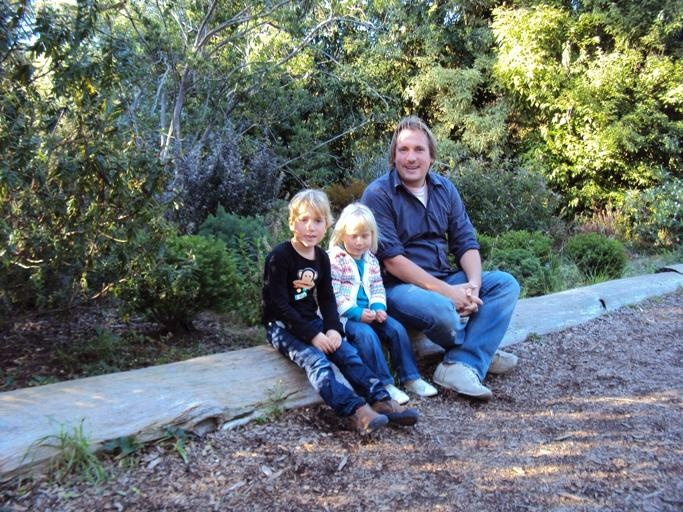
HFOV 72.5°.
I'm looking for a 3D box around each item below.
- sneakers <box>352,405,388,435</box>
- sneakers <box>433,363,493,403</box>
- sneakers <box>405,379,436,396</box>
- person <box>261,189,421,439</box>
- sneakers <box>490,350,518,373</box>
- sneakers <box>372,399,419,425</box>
[{"bbox_3d":[0.181,1.046,3.018,0.236,0.173,0.169,-3,3,-13],"label":"sneakers"},{"bbox_3d":[0.895,0.924,3.497,0.469,0.225,0.188,16,1,29],"label":"sneakers"},{"bbox_3d":[0.610,0.953,3.502,0.184,0.087,0.118,5,15,24],"label":"sneakers"},{"bbox_3d":[-0.125,0.338,3.234,1.016,1.600,0.469,0,4,44],"label":"person"},{"bbox_3d":[1.338,0.876,3.878,0.281,0.135,0.124,-7,46,12],"label":"sneakers"},{"bbox_3d":[0.360,1.034,3.087,0.251,0.124,0.143,0,2,19],"label":"sneakers"}]
